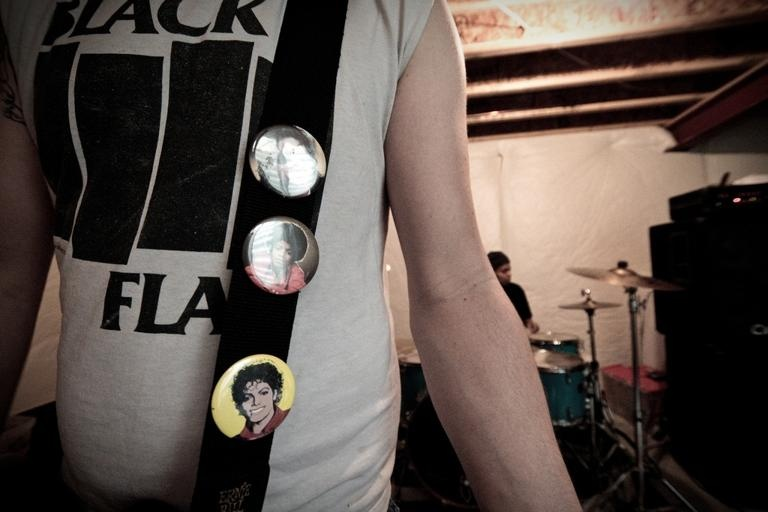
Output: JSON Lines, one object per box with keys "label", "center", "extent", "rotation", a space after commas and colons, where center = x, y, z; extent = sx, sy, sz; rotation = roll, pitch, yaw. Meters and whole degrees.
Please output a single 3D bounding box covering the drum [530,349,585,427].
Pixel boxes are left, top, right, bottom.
{"label": "drum", "center": [0.974, 0.846, 3.633], "extent": [0.330, 0.300, 0.332], "rotation": [-17, -18, 42]}
